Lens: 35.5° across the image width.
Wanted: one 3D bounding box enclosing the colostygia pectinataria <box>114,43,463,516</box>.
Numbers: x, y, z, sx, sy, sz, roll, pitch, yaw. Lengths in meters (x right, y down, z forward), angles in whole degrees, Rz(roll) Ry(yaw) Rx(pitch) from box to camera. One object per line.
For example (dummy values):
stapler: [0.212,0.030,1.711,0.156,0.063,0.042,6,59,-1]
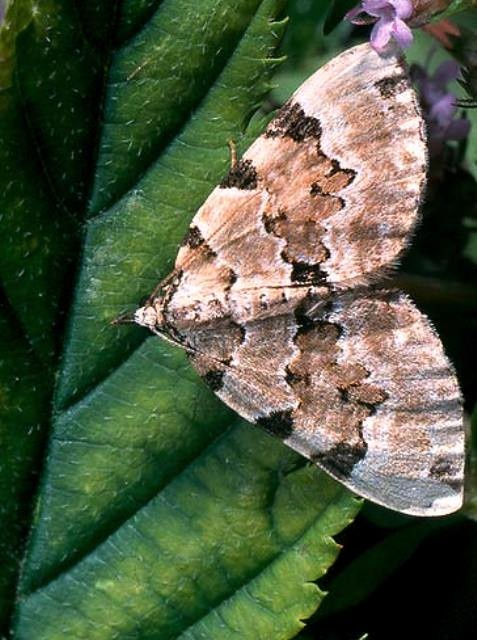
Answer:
colostygia pectinataria: [0.352,-0.110,3.182,1.309,1.105,1.746,-17,64,0]
